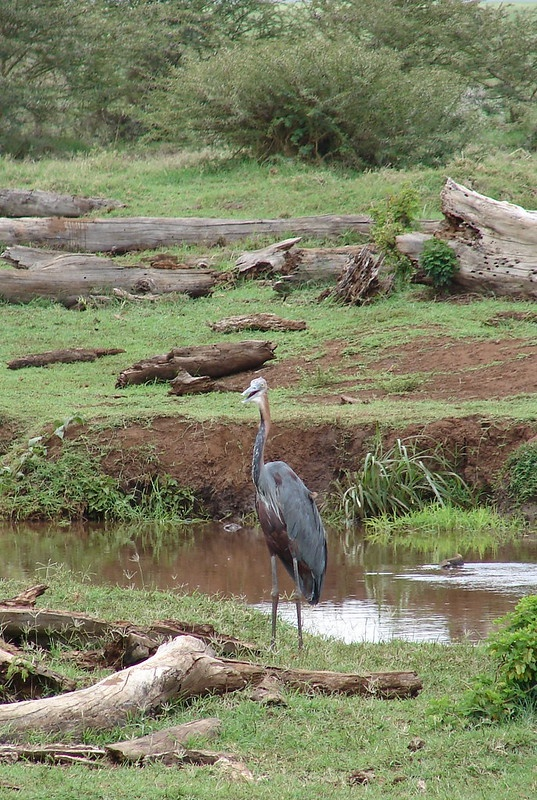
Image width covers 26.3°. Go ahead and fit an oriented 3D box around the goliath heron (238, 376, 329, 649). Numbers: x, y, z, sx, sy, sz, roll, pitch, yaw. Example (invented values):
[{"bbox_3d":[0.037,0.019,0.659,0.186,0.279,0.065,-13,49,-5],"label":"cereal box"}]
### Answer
[{"bbox_3d":[0.107,0.718,7.349,0.460,1.699,0.546,0,5,7],"label":"goliath heron"}]
